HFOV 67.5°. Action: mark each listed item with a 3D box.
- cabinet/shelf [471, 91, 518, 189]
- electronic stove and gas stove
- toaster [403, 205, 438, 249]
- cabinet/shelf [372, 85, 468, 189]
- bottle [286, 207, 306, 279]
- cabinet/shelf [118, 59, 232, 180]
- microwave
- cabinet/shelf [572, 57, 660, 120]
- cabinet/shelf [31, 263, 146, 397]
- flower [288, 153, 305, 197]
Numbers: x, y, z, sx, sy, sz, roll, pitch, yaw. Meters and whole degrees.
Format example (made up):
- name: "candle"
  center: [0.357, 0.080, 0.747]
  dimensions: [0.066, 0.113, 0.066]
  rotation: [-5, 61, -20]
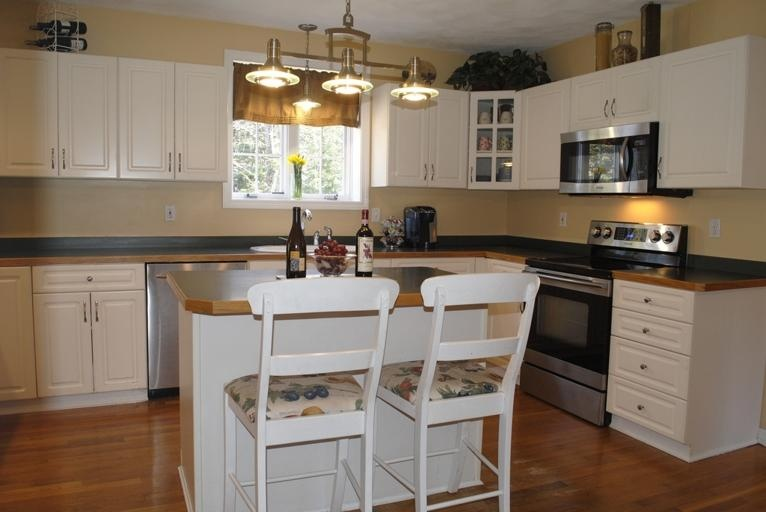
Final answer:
- name: "cabinet/shelf"
  center: [1.064, -1.123, 5.529]
  dimensions: [0.478, 0.919, 0.193]
  rotation: [1, 10, 10]
- name: "electronic stove and gas stove"
  center: [1.808, -0.071, 4.597]
  dimensions: [0.860, 0.374, 0.947]
  rotation: [-6, 11, -31]
- name: "toaster"
  center: [0.396, -0.302, 5.746]
  dimensions: [0.296, 0.409, 0.352]
  rotation: [-6, 7, -40]
- name: "cabinet/shelf"
  center: [0.333, -1.116, 5.339]
  dimensions: [1.019, 0.882, 0.477]
  rotation: [-1, 5, -18]
- name: "bottle"
  center: [-0.490, -0.075, 3.197]
  dimensions: [0.107, 0.392, 0.121]
  rotation: [-2, 10, -9]
- name: "cabinet/shelf"
  center: [-1.769, -1.133, 4.775]
  dimensions: [1.088, 1.166, 0.494]
  rotation: [0, 3, -24]
- name: "microwave"
  center: [2.006, -0.591, 4.650]
  dimensions: [0.604, 0.545, 0.918]
  rotation: [-1, 3, -24]
- name: "cabinet/shelf"
  center: [1.869, -1.322, 4.556]
  dimensions: [0.248, 0.384, 0.652]
  rotation: [-3, 6, -25]
- name: "cabinet/shelf"
  center: [-2.253, 0.527, 4.844]
  dimensions: [1.040, 1.353, 0.918]
  rotation: [0, 1, -22]
- name: "flower"
  center: [-0.815, -0.776, 5.521]
  dimensions: [0.160, 0.428, 0.224]
  rotation: [-2, 10, -7]
